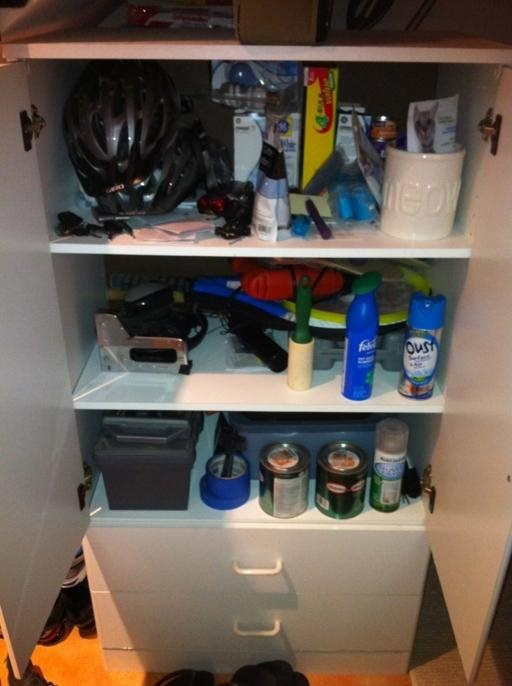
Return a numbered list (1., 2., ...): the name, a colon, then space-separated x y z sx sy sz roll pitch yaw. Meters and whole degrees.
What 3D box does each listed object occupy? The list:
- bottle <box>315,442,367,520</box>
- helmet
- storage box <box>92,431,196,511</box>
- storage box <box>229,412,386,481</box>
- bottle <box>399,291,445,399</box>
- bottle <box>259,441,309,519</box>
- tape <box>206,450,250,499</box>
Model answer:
1. bottle: 0.180 0.297 1.184 0.096 0.103 0.096 26 42 32
2. helmet: -0.205 -0.387 1.054 0.313 0.261 0.254 -14 13 -19
3. storage box: -0.211 0.277 1.217 0.228 0.151 0.216 -2 27 -3
4. storage box: 0.116 0.222 1.260 0.242 0.081 0.159 0 7 -1
5. bottle: 0.303 0.012 1.024 0.064 0.215 0.047 5 30 14
6. bottle: 0.057 0.299 1.252 0.138 0.146 0.134 0 28 1
7. tape: -0.052 0.289 1.268 0.103 0.087 0.150 1 28 2
